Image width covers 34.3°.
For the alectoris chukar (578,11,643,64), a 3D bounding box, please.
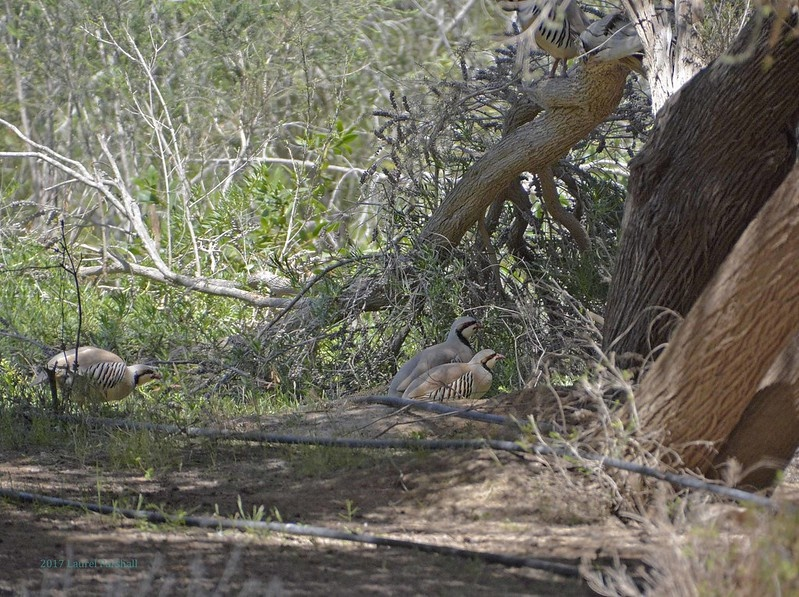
[{"bbox_3d":[1.945,-2.371,11.784,0.533,0.204,0.410,-23,36,-18],"label":"alectoris chukar"}]
